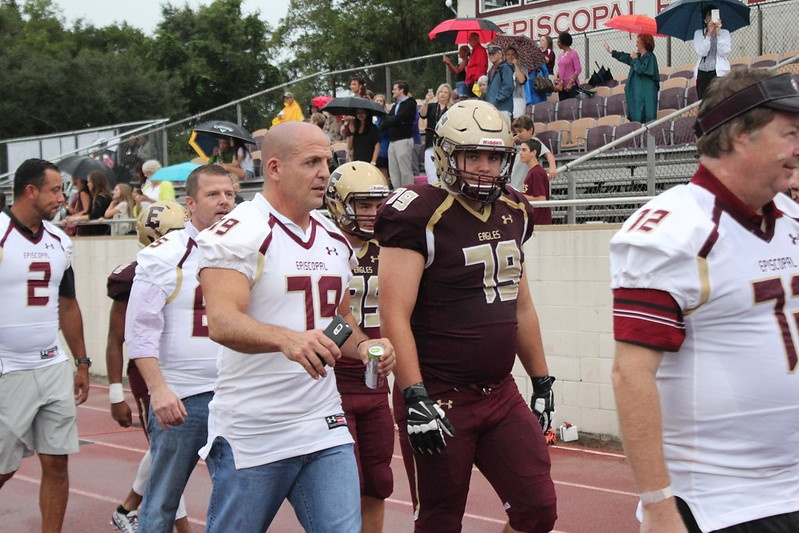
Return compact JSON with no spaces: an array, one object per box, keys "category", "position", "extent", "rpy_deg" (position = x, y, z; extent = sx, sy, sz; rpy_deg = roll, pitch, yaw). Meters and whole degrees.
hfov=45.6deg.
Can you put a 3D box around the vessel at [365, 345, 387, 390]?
[{"category":"vessel","position":[-0.121,0.597,5.703],"extent":[0.098,0.255,0.139],"rpy_deg":[5,9,43]}]

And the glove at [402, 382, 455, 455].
[{"category":"glove","position":[0.171,0.943,5.850],"extent":[0.334,0.483,0.156],"rpy_deg":[-1,-27,-32]}]

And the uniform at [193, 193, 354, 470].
[{"category":"uniform","position":[-0.746,0.371,5.808],"extent":[0.957,1.615,0.498],"rpy_deg":[-3,7,-14]}]

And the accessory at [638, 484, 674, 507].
[{"category":"accessory","position":[1.320,1.168,4.883],"extent":[0.123,0.042,0.117],"rpy_deg":[-16,-9,9]}]

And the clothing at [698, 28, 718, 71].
[{"category":"clothing","position":[3.993,-2.734,12.059],"extent":[0.278,0.523,0.197],"rpy_deg":[12,-4,14]}]

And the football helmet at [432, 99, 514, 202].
[{"category":"football helmet","position":[0.507,-0.802,6.366],"extent":[0.539,0.535,0.653],"rpy_deg":[1,15,-19]}]

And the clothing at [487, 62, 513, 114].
[{"category":"clothing","position":[1.493,-2.645,13.906],"extent":[0.417,0.675,0.555],"rpy_deg":[-10,19,-24]}]
